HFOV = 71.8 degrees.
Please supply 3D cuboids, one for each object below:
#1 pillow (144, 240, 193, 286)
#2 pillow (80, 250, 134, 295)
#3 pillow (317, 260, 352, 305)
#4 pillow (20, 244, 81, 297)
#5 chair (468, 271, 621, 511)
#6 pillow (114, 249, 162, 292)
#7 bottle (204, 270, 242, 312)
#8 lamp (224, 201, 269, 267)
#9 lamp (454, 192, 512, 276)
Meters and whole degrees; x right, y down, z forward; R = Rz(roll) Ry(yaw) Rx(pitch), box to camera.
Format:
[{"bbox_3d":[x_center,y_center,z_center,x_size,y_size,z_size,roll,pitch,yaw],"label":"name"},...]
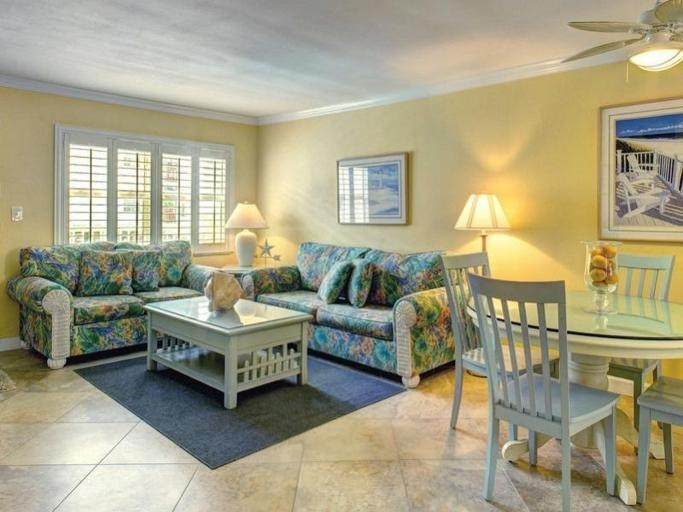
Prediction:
[{"bbox_3d":[-1.967,0.102,5.464,0.464,0.461,0.214,1,-13,-42],"label":"pillow"},{"bbox_3d":[-2.403,0.178,4.767,0.435,0.432,0.157,5,-8,-31],"label":"pillow"},{"bbox_3d":[-0.081,0.262,4.631,0.156,0.385,0.386,24,-16,-28],"label":"pillow"},{"bbox_3d":[-2.856,0.180,4.642,0.494,0.484,0.233,5,-9,-24],"label":"pillow"},{"bbox_3d":[1.099,0.696,2.603,0.828,1.280,0.814,9,14,36],"label":"chair"},{"bbox_3d":[-2.169,0.159,4.957,0.437,0.415,0.225,1,-7,-24],"label":"pillow"},{"bbox_3d":[-0.995,0.314,4.095,0.287,0.353,0.345,1,-15,-10],"label":"bottle"},{"bbox_3d":[-1.213,-0.292,5.975,0.594,0.790,0.598,2,2,14],"label":"lamp"},{"bbox_3d":[1.204,-0.242,4.370,0.573,0.912,0.572,0,-2,-5],"label":"lamp"}]
